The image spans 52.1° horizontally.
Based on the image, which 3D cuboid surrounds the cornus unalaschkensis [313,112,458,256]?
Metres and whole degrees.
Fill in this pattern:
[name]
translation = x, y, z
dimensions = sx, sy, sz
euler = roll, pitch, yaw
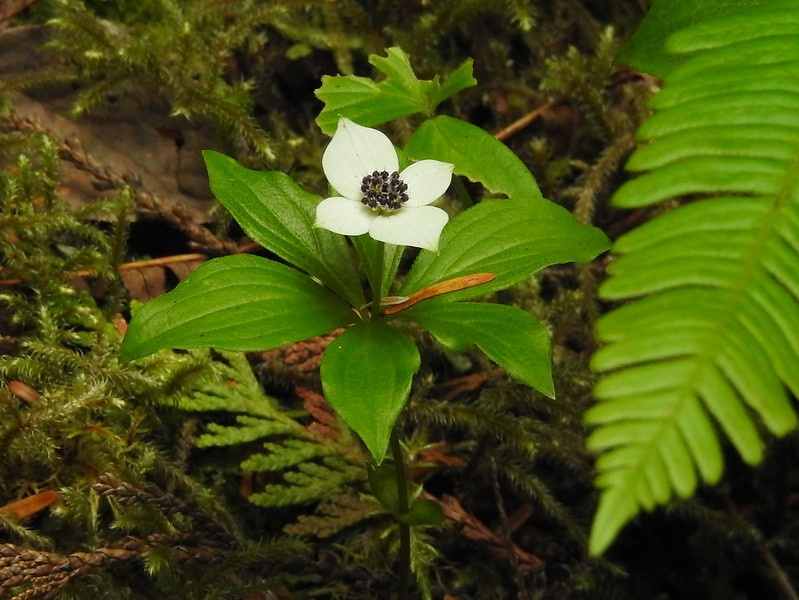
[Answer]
[cornus unalaschkensis]
translation = -0.055, -0.430, 2.965
dimensions = 0.447, 0.373, 0.443
euler = -5, 37, 20
